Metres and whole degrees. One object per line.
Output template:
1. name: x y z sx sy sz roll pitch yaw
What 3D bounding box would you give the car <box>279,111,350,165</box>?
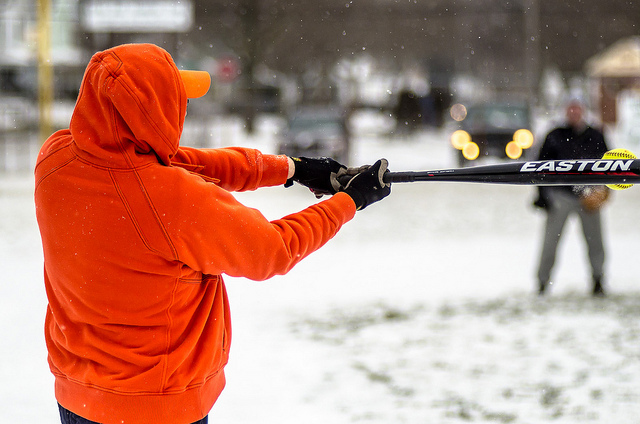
1. car: -0.084 -1.543 30.520 1.260 1.073 2.546 -2 13 -1

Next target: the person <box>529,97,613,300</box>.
1. person: 4.151 -0.318 24.689 1.678 3.382 0.978 -2 -21 18
